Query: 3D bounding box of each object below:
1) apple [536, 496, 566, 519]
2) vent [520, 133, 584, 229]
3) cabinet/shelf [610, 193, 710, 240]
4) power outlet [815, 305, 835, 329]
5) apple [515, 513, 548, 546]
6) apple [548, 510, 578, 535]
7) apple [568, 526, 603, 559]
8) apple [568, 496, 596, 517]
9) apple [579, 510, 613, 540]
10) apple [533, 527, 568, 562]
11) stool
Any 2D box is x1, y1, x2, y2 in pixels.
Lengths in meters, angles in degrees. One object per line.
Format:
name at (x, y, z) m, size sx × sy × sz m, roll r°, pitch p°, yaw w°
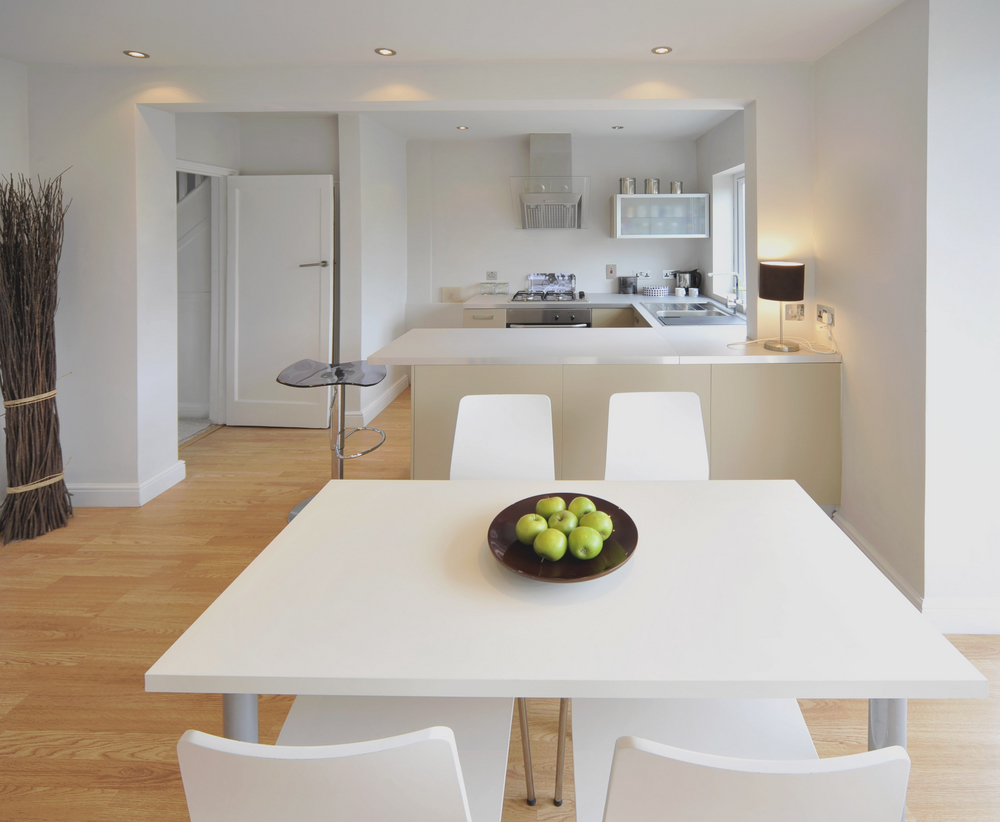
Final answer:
apple at (0.133, 0.255, 2.155) m, size 0.055 × 0.059 × 0.055 m, roll 1°, pitch 10°, yaw 44°
vent at (0.405, -2.161, 7.640) m, size 0.672 × 0.925 × 0.652 m, roll -1°, pitch 19°, yaw 0°
cabinet/shelf at (1.418, -1.719, 7.163) m, size 0.839 × 0.377 × 0.321 m, roll 1°, pitch 9°, yaw 12°
power outlet at (1.640, -0.473, 4.083) m, size 0.034 × 0.101 × 0.070 m, roll 9°, pitch -3°, yaw -24°
apple at (0.076, 0.290, 2.033) m, size 0.068 × 0.075 × 0.069 m, roll -3°, pitch 6°, yaw -14°
apple at (0.159, 0.284, 2.057) m, size 0.050 × 0.054 × 0.053 m, roll 1°, pitch -2°, yaw 8°
apple at (0.207, 0.322, 1.993) m, size 0.075 × 0.077 × 0.078 m, roll 20°, pitch 25°, yaw -6°
apple at (0.221, 0.254, 2.148) m, size 0.049 × 0.056 × 0.051 m, roll -13°, pitch -23°, yaw 20°
apple at (0.246, 0.289, 2.060) m, size 0.063 × 0.072 × 0.071 m, roll -1°, pitch -6°, yaw -1°
apple at (0.121, 0.325, 2.028) m, size 0.062 × 0.064 × 0.083 m, roll 7°, pitch 30°, yaw 9°
stool at (-1.133, 0.065, 5.191) m, size 0.560 × 0.731 × 0.504 m, roll 3°, pitch 27°, yaw 0°
